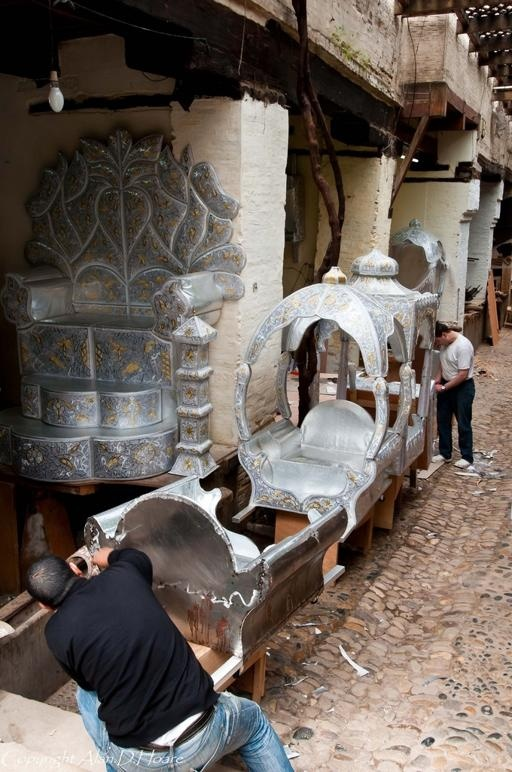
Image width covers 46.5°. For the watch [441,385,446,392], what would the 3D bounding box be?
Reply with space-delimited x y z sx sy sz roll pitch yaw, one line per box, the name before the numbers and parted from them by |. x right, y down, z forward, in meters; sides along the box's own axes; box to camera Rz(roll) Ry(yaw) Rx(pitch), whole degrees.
watch | 2.146 0.030 6.872 0.044 0.060 0.066 7 15 12

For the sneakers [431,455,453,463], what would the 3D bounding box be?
sneakers | 2.313 0.892 7.424 0.264 0.110 0.094 -2 7 -3
